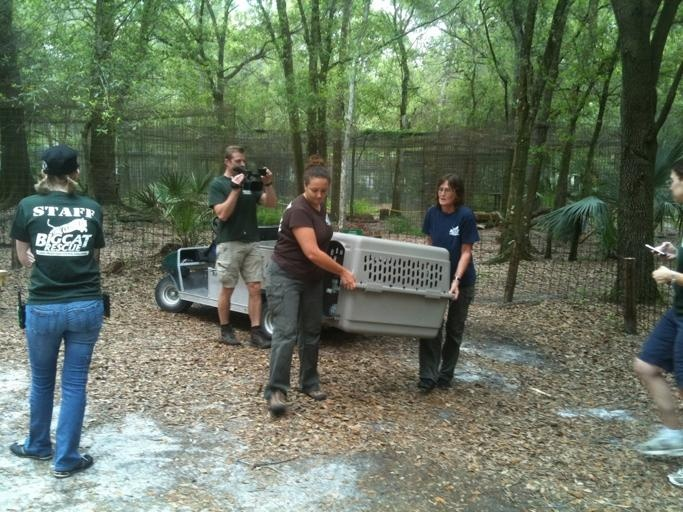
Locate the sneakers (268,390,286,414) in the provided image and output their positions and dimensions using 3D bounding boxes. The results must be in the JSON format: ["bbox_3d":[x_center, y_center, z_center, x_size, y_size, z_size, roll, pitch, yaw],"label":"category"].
[{"bbox_3d":[-0.567,1.330,6.062,0.173,0.186,0.213,1,14,-7],"label":"sneakers"}]

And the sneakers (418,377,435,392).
[{"bbox_3d":[0.844,1.281,6.624,0.127,0.111,0.163,-1,5,-16],"label":"sneakers"}]

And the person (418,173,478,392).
[{"bbox_3d":[1.053,0.271,6.688,0.565,2.115,0.731,5,14,7],"label":"person"}]

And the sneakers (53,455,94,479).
[{"bbox_3d":[-2.033,1.630,5.125,0.112,0.119,0.310,7,9,28],"label":"sneakers"}]

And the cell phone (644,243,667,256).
[{"bbox_3d":[3.477,-0.063,7.418,0.173,0.050,0.184,30,4,32],"label":"cell phone"}]

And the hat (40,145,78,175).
[{"bbox_3d":[-2.173,-0.739,5.169,0.249,0.157,0.243,4,32,-6],"label":"hat"}]

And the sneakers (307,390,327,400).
[{"bbox_3d":[-0.222,1.322,6.307,0.069,0.070,0.177,-1,-8,-41],"label":"sneakers"}]

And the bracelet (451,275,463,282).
[{"bbox_3d":[1.141,0.222,6.527,0.069,0.037,0.091,-4,-5,41],"label":"bracelet"}]

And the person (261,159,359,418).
[{"bbox_3d":[-0.327,0.257,6.162,0.837,2.246,0.737,-3,16,-23],"label":"person"}]

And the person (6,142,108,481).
[{"bbox_3d":[-2.174,0.416,5.115,0.698,2.424,0.772,-2,15,-19],"label":"person"}]
